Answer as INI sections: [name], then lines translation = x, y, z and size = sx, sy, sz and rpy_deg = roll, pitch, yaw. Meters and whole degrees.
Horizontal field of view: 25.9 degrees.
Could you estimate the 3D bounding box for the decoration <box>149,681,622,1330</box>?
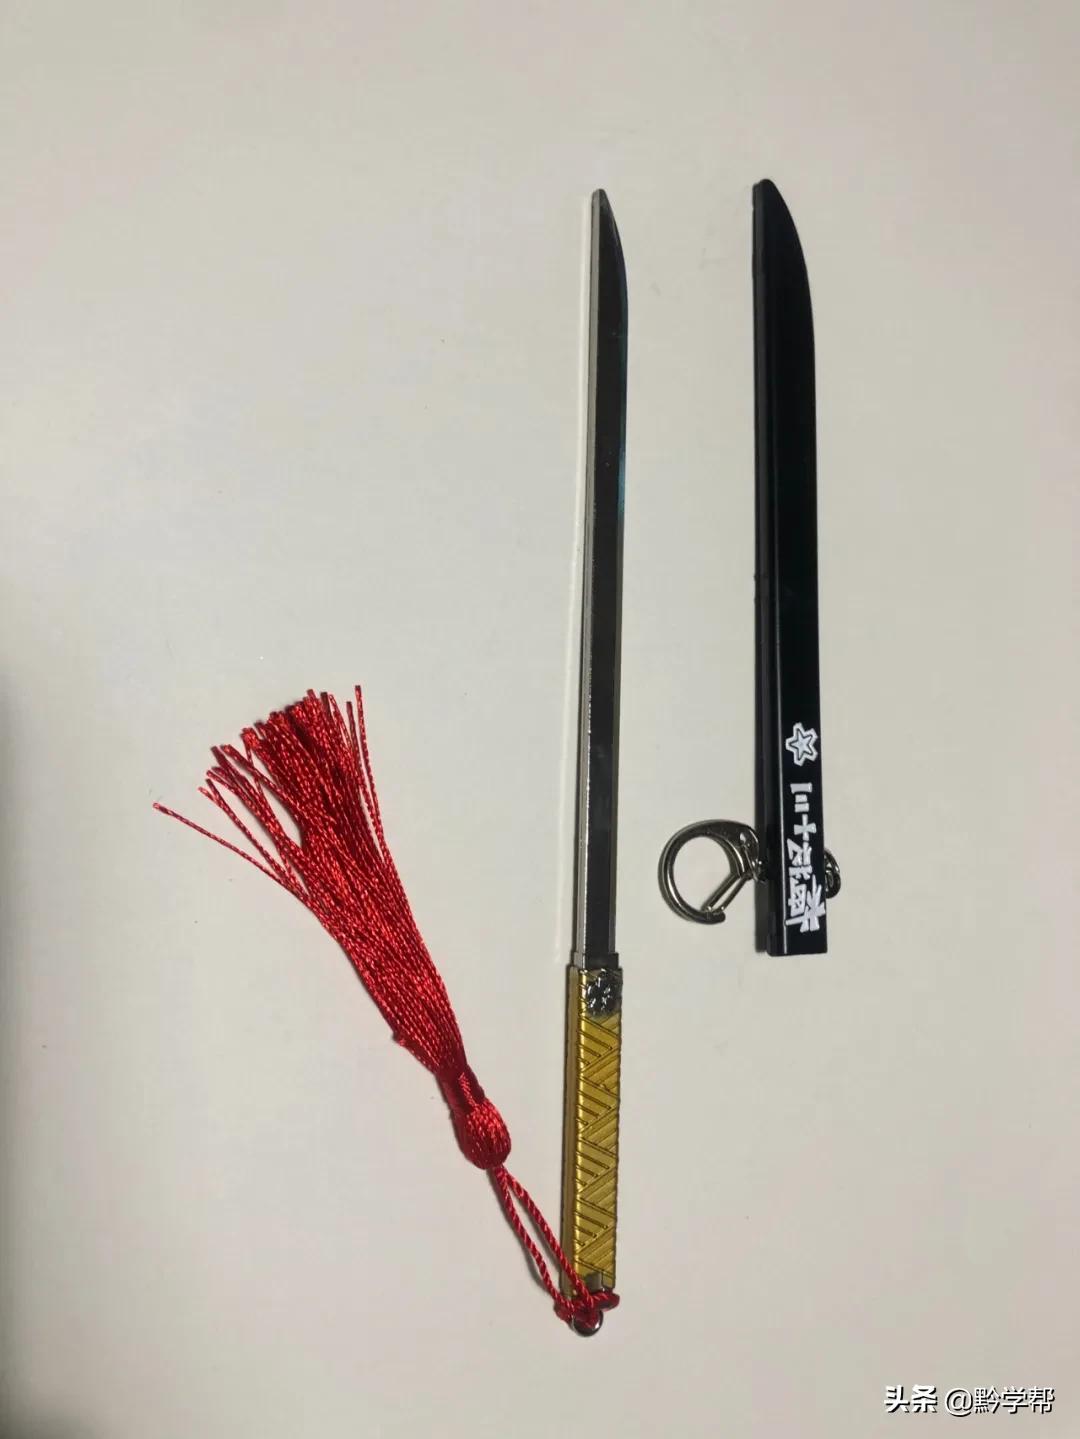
[decoration]
translation = -0.123, 0.214, 2.169
size = 0.270, 0.740, 0.108
rpy_deg = -27, -1, 4
